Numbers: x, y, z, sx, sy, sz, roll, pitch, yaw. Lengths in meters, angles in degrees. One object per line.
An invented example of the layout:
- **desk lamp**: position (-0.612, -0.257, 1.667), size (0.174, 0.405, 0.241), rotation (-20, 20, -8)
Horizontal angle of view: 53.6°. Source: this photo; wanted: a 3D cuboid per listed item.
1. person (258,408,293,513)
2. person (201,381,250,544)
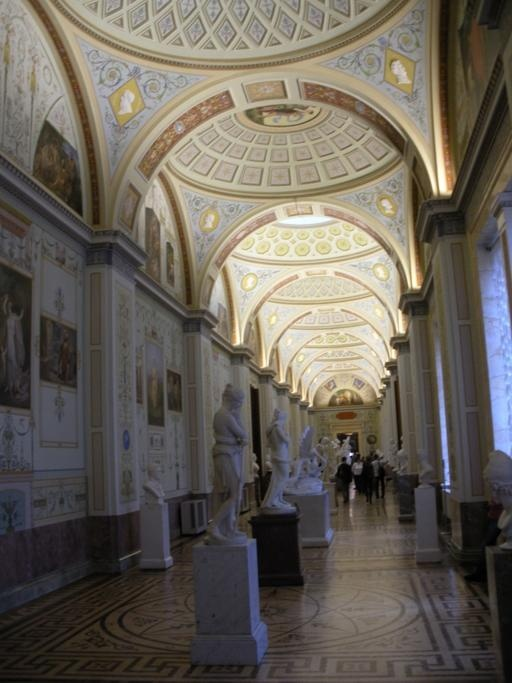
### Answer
- **person**: position (0.313, 1.825, 7.938), size (0.488, 1.540, 0.939), rotation (-2, -11, 2)
- **person**: position (-0.237, 1.017, 4.451), size (0.319, 1.320, 0.894), rotation (-1, -11, -3)
